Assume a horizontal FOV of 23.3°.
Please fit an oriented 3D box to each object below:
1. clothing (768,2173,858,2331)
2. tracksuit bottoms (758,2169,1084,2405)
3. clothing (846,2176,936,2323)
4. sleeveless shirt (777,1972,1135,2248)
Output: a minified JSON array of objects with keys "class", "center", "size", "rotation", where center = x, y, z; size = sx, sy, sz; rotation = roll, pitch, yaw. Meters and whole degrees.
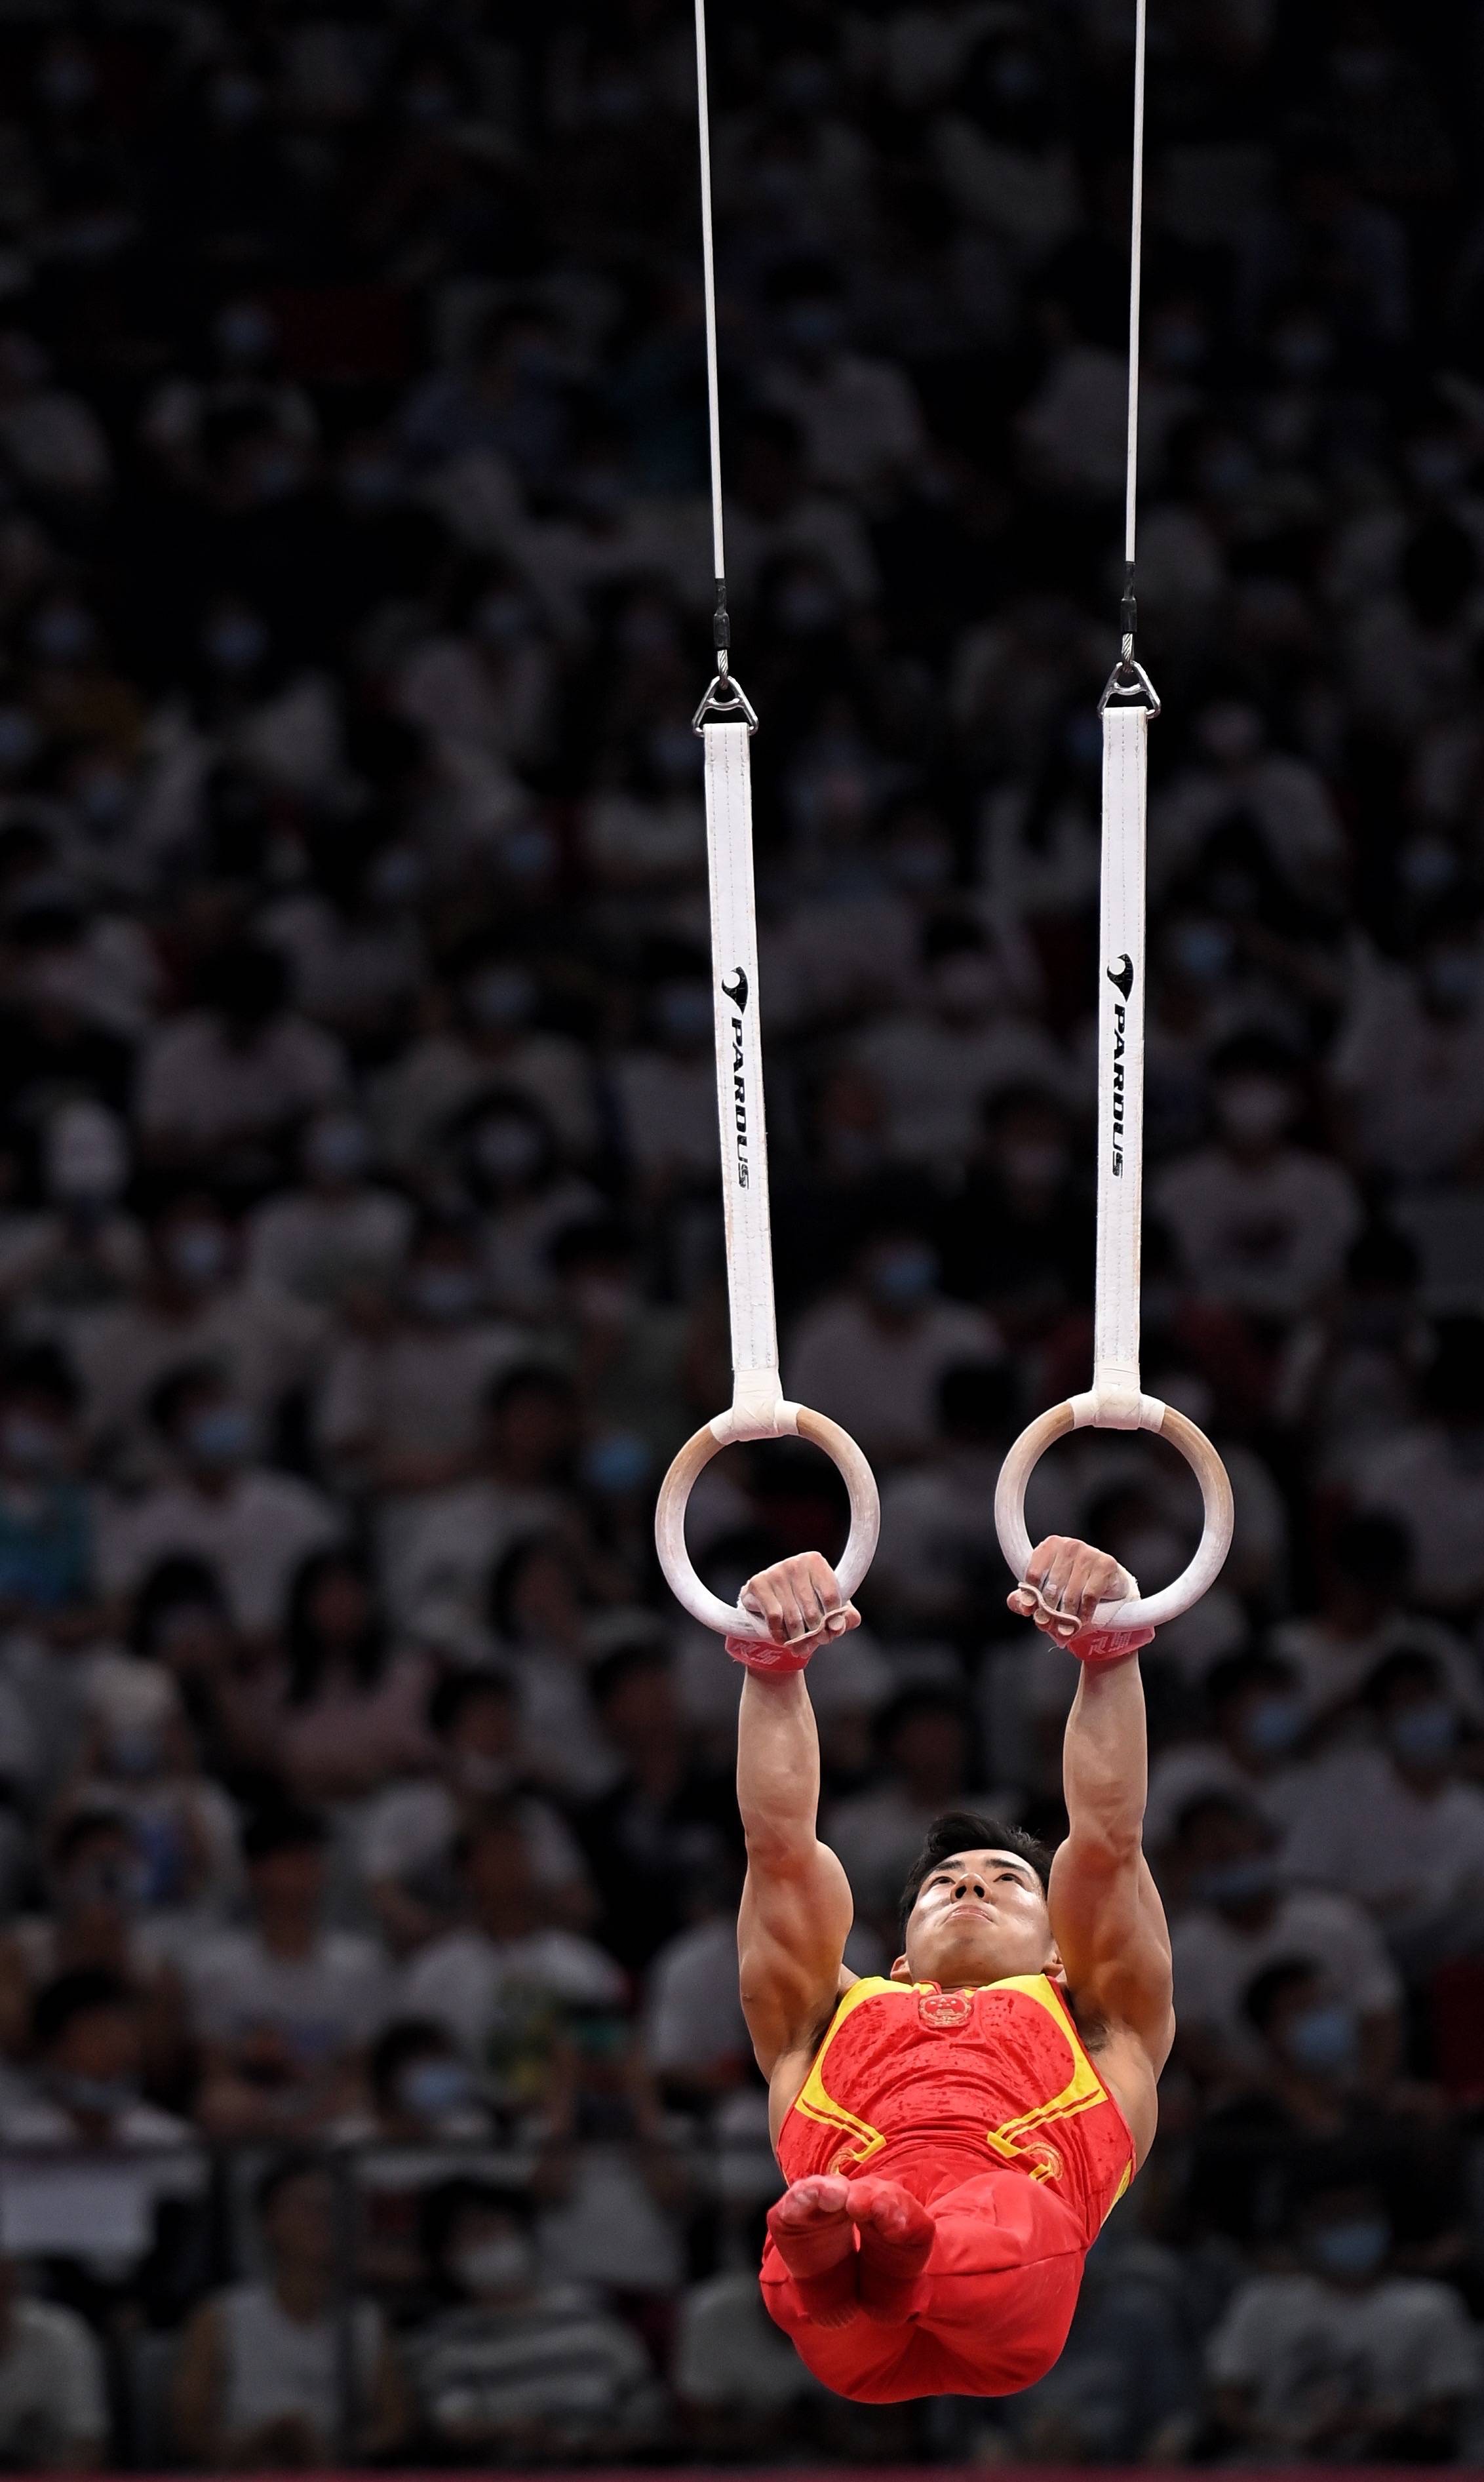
[{"class":"clothing","center":[0.060,0.733,2.642],"size":[0.073,0.046,0.113],"rotation":[-20,-57,-8]},{"class":"tracksuit bottoms","center":[0.120,0.815,2.852],"size":[0.309,0.174,0.521],"rotation":[-1,-18,-7]},{"class":"clothing","center":[0.106,0.734,2.648],"size":[0.067,0.047,0.110],"rotation":[12,-58,22]},{"class":"sleeveless shirt","center":[0.178,0.704,2.922],"size":[0.303,0.271,0.137],"rotation":[-7,-60,9]}]
